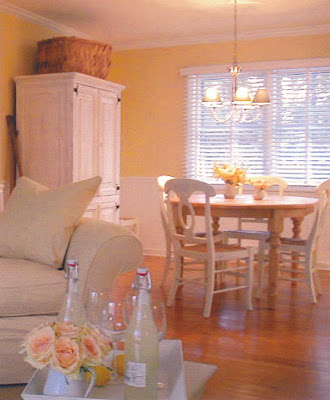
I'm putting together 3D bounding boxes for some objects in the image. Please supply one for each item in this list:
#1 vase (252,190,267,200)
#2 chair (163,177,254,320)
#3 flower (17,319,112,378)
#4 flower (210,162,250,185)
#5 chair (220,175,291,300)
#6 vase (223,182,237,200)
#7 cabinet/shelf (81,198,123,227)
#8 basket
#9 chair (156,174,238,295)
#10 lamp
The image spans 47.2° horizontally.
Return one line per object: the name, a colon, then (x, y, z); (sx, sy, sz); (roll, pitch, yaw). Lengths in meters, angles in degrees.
vase: (0.817, -0.032, 3.327); (0.103, 0.128, 0.097); (4, -3, -1)
chair: (0.347, 0.343, 2.933); (0.683, 0.943, 0.639); (1, 0, 2)
flower: (-0.205, 0.300, 0.780); (0.129, 0.040, 0.128); (15, 16, 16)
flower: (0.577, -0.218, 3.354); (0.226, 0.101, 0.214); (9, 16, 4)
chair: (0.667, 0.400, 3.278); (0.510, 0.807, 0.500); (-11, 11, -39)
vase: (0.584, -0.076, 3.470); (0.159, 0.202, 0.150); (1, -1, 2)
cabinet/shelf: (-0.682, 0.117, 4.045); (0.302, 0.327, 0.554); (-1, -1, 22)
basket: (-0.925, -1.424, 3.881); (0.704, 0.279, 0.534); (-4, 10, -44)
chair: (0.237, 0.372, 3.376); (0.539, 0.997, 0.484); (14, -6, -42)
lamp: (0.758, -1.355, 3.853); (0.725, 1.161, 1.613); (1, 2, 6)
